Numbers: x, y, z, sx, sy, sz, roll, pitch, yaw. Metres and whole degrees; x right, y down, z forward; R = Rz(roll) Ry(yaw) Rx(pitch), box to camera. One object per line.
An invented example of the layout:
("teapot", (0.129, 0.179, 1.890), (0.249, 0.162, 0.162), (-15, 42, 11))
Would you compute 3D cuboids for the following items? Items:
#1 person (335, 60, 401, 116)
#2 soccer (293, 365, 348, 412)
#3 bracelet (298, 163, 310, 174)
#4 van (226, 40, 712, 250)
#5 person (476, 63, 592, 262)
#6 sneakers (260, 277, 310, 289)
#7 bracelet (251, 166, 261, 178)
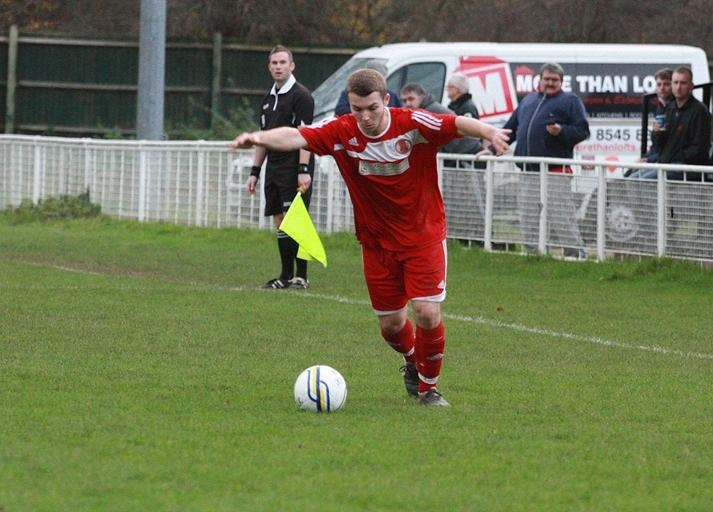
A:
("person", (0.313, -2.735, 24.494), (0.867, 0.787, 1.557), (0, 0, 24))
("soccer", (-0.412, 1.442, 16.249), (0.491, 0.485, 0.471), (0, -9, -3))
("bracelet", (-0.691, -1.140, 19.666), (0.115, 0.122, 0.109), (3, 1, 20))
("van", (2.684, -1.979, 26.897), (6.658, 3.333, 3.404), (2, 0, 0))
("person", (2.623, -1.376, 22.043), (1.202, 2.734, 0.984), (4, 13, 20))
("sneakers", (-0.928, 0.381, 20.050), (0.562, 0.156, 0.215), (2, -3, -8))
("bracelet", (-1.360, -1.112, 20.186), (0.129, 0.151, 0.152), (2, 1, -3))
